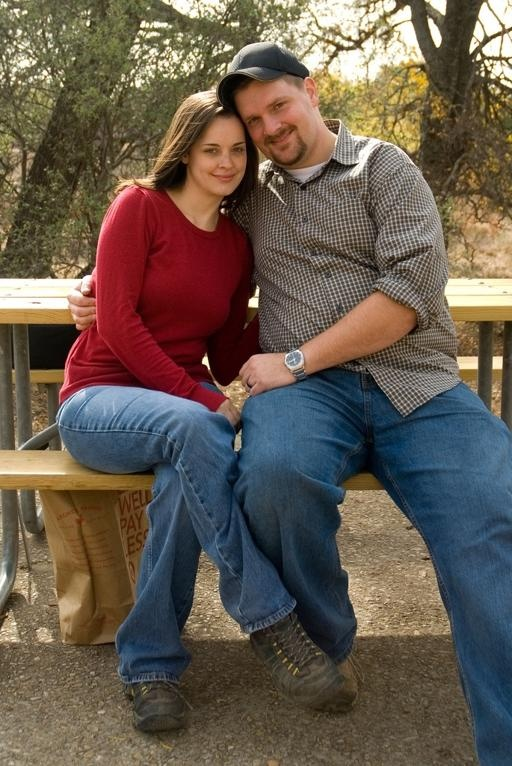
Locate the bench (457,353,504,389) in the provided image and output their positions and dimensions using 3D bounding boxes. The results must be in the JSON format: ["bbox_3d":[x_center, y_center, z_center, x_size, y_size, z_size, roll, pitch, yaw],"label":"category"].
[{"bbox_3d":[0.915,-0.052,2.848,0.243,0.049,0.209,-1,20,14],"label":"bench"}]

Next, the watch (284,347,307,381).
[{"bbox_3d":[0.107,-0.055,1.903,0.054,0.080,0.074,-26,-25,11],"label":"watch"}]

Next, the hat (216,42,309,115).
[{"bbox_3d":[0.020,-0.909,2.056,0.190,0.133,0.279,-26,-7,42],"label":"hat"}]

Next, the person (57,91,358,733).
[{"bbox_3d":[-0.197,0.016,1.874,0.653,1.673,0.929,-4,10,-15],"label":"person"}]
